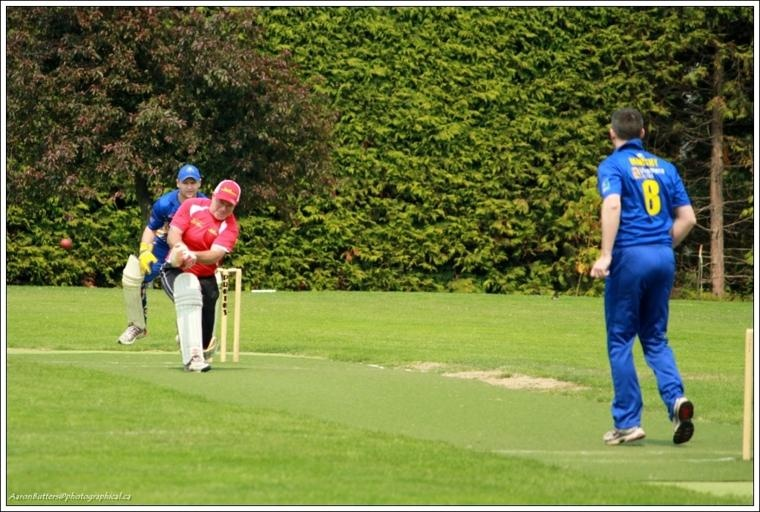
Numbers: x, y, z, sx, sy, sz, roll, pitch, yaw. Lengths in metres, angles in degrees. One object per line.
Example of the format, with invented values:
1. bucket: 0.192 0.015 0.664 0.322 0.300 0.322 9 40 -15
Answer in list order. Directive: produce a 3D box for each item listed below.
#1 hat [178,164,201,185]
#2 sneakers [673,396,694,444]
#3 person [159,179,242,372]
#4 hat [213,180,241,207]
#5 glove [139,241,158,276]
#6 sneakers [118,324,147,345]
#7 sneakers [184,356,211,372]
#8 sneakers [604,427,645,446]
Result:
1. hat: -3.058 -1.289 18.687 0.297 0.223 0.422 2 -7 -11
2. sneakers: 4.107 2.196 15.705 0.280 0.583 0.291 2 -6 5
3. person: -2.732 0.288 17.804 1.078 2.822 0.876 0 1 -13
4. hat: -2.332 -0.965 17.716 0.321 0.236 0.453 21 7 -19
5. glove: -3.780 -0.003 18.779 0.140 0.500 0.340 -30 -43 16
6. sneakers: -4.149 1.302 19.541 0.231 0.269 0.650 7 6 20
7. sneakers: -2.731 1.609 17.496 0.169 0.167 0.404 4 -10 -39
8. sneakers: 3.312 2.436 15.871 0.591 0.262 0.223 -2 4 -1
